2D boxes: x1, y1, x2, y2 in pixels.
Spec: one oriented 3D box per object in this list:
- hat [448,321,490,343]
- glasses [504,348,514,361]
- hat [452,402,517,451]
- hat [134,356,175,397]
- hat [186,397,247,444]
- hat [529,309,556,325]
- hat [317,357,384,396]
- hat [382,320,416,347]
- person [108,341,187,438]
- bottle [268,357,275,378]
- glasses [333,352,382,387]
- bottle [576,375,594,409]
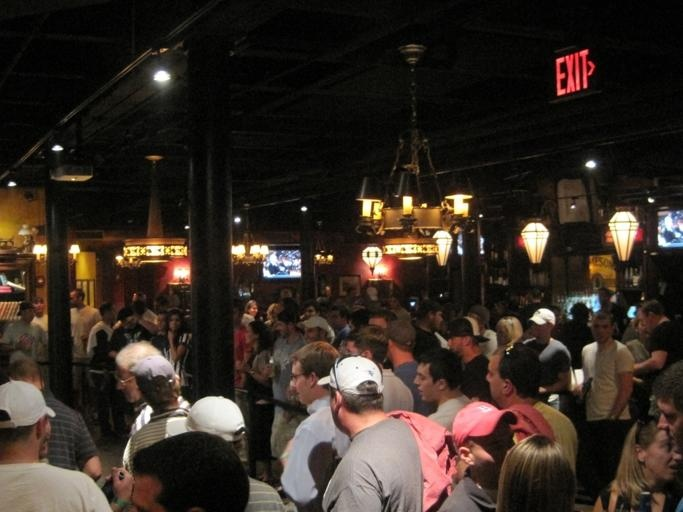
[{"bbox_3d":[1.203,0.729,6.131,0.401,0.210,0.239,2,2,0],"label":"hat"},{"bbox_3d":[1.088,0.639,4.320,0.020,0.064,0.048,15,-13,4],"label":"glasses"},{"bbox_3d":[0.746,0.913,3.548,0.290,0.156,0.217,-30,-9,32],"label":"hat"},{"bbox_3d":[-1.181,0.777,4.231,0.216,0.161,0.338,13,-19,-10],"label":"hat"},{"bbox_3d":[-0.712,0.907,3.740,0.321,0.269,0.269,7,0,12],"label":"hat"},{"bbox_3d":[2.104,0.642,6.942,0.232,0.115,0.164,4,-8,-21],"label":"hat"},{"bbox_3d":[0.078,0.626,3.549,0.177,0.121,0.256,3,6,-33],"label":"hat"},{"bbox_3d":[0.497,0.658,5.714,0.195,0.154,0.250,2,21,-20],"label":"hat"},{"bbox_3d":[-1.339,0.933,4.778,0.473,0.741,0.469,-10,18,7],"label":"person"},{"bbox_3d":[-0.757,1.236,7.318,0.071,0.221,0.270,1,-1,-5],"label":"bottle"},{"bbox_3d":[0.074,0.614,3.582,0.153,0.102,0.203,3,-1,-9],"label":"glasses"},{"bbox_3d":[2.407,1.359,6.604,0.122,0.288,0.101,15,4,14],"label":"bottle"}]
